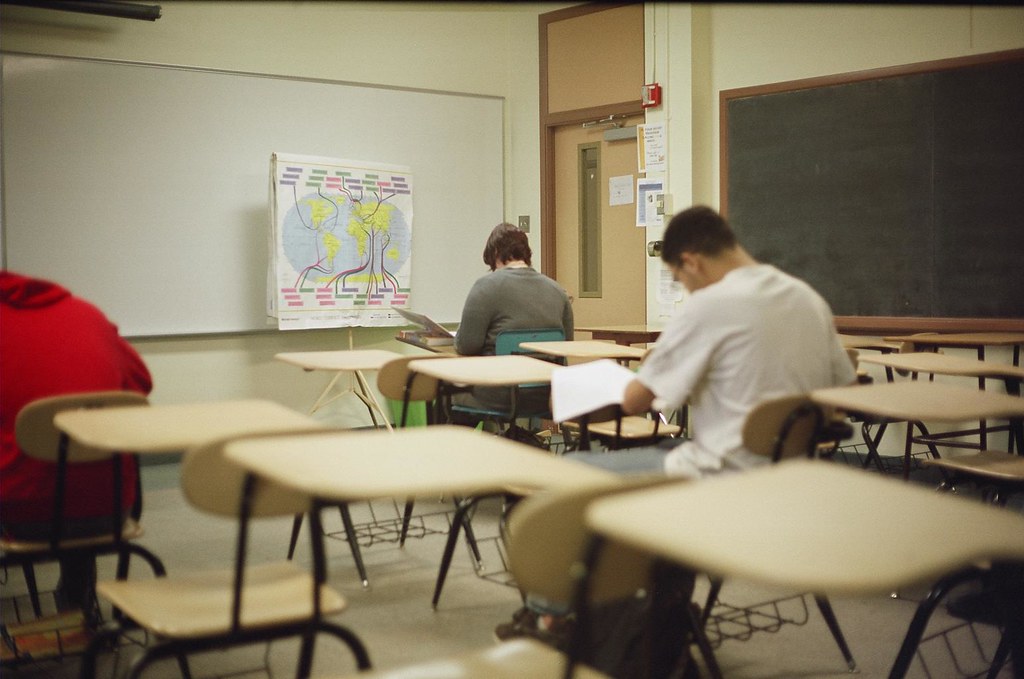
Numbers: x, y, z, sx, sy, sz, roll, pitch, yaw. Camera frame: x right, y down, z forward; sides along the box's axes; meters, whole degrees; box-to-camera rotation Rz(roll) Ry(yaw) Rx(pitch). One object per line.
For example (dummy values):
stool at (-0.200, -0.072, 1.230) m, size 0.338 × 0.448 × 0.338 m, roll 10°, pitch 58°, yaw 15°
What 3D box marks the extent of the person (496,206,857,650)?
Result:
person at (0.601, 0.174, 2.818) m, size 1.147 × 1.249 × 0.940 m, roll 7°, pitch 16°, yaw 37°
